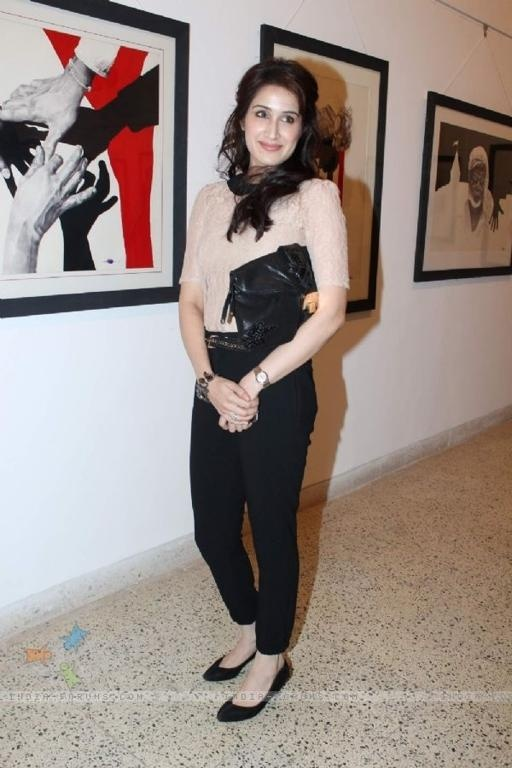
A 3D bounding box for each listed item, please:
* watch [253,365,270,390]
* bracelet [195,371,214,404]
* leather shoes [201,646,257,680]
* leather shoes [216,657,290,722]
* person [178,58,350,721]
[{"bbox_3d":[0.006,-0.011,1.300,0.031,0.051,0.046,-24,1,-4],"label":"watch"},{"bbox_3d":[-0.123,0.013,1.422,0.019,0.071,0.049,0,2,-39],"label":"bracelet"},{"bbox_3d":[-0.074,0.802,1.713,0.057,0.049,0.170,8,13,43],"label":"leather shoes"},{"bbox_3d":[0.009,0.828,1.604,0.084,0.074,0.250,5,26,43],"label":"leather shoes"},{"bbox_3d":[-0.010,0.052,1.519,0.357,1.618,0.418,-1,12,-13],"label":"person"}]
